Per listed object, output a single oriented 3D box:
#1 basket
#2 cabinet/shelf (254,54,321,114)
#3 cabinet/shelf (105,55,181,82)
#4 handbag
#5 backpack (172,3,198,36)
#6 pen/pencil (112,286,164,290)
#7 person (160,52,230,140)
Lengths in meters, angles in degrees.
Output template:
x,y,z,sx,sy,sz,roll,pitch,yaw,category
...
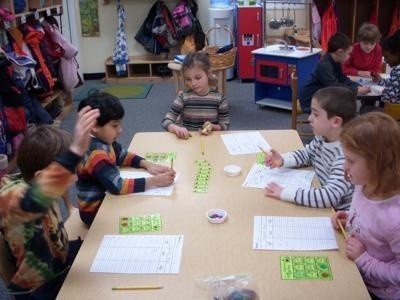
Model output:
x,y,z,sx,sy,sz,roll,pitch,yaw,category
0.304,-1.576,4.622,0.487,0.713,0.680,-1,5,1,basket
1.358,-1.147,4.844,0.625,0.833,0.830,-19,27,-33,cabinet/shelf
-1.268,-1.696,6.403,1.415,0.535,0.501,-3,18,-7,cabinet/shelf
-2.122,-0.929,3.621,0.271,0.495,0.751,-15,26,-27,handbag
-0.310,-2.616,6.016,0.450,0.677,0.374,8,34,19,backpack
-0.232,0.510,1.108,0.193,0.007,0.021,-3,23,3,pen/pencil
-0.034,-0.305,2.616,0.578,1.006,0.581,1,21,4,person
